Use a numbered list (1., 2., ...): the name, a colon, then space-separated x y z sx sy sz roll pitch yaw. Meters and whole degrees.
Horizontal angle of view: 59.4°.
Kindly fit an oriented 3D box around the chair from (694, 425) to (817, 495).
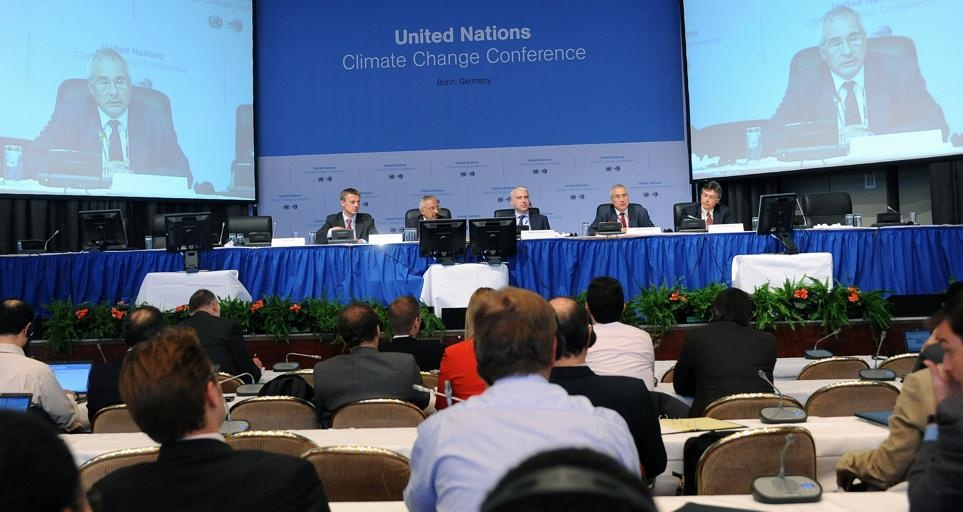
1. chair: 2.656 1.930 8.467 0.816 1.032 0.822 -1 -1 2

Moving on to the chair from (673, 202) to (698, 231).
1. chair: 3.236 -0.672 13.620 0.495 0.623 0.552 0 -8 12

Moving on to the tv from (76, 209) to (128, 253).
1. tv: -5.835 -0.409 12.942 0.658 0.595 0.351 -3 -6 -2

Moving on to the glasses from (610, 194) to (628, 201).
1. glasses: 2.262 -0.963 13.964 0.239 0.086 0.153 0 -1 -3

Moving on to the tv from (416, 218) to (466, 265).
1. tv: -0.550 -0.208 12.143 0.735 0.594 0.358 -2 9 -15

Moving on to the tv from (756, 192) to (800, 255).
1. tv: 4.233 -0.467 12.218 0.551 0.849 0.390 -1 -1 17

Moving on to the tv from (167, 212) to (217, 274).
1. tv: -4.305 -0.202 12.472 0.677 0.887 0.582 0 -1 -19

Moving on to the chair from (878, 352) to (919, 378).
1. chair: 4.684 1.190 9.620 0.312 0.341 0.340 0 13 3

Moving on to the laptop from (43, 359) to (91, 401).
1. laptop: -4.703 1.426 9.939 0.618 0.409 0.470 -2 -2 18

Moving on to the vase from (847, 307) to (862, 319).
1. vase: 4.997 0.773 11.376 0.174 0.155 0.071 22 -3 9

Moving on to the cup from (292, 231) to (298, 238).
1. cup: -3.484 -0.412 15.765 0.159 0.109 0.148 2 -2 0

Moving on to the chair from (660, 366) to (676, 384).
1. chair: 2.210 1.415 10.093 0.207 0.230 0.264 -1 -4 25

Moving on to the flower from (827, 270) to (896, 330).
1. flower: 5.023 0.611 11.271 0.717 0.423 0.668 4 0 -26

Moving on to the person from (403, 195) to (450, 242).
1. person: -0.957 -0.739 13.809 0.680 1.022 0.873 0 -45 -2

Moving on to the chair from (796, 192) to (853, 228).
1. chair: 5.332 -0.739 13.392 0.600 0.782 0.708 0 -4 11

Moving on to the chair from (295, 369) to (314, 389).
1. chair: -2.005 1.386 9.694 0.292 0.252 0.486 1 -5 -12

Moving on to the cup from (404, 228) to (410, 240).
1. cup: -1.108 -0.341 12.742 0.143 0.177 0.138 2 -4 0

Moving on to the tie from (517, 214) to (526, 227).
1. tie: 0.661 -0.587 13.893 0.154 0.057 0.205 1 36 1
